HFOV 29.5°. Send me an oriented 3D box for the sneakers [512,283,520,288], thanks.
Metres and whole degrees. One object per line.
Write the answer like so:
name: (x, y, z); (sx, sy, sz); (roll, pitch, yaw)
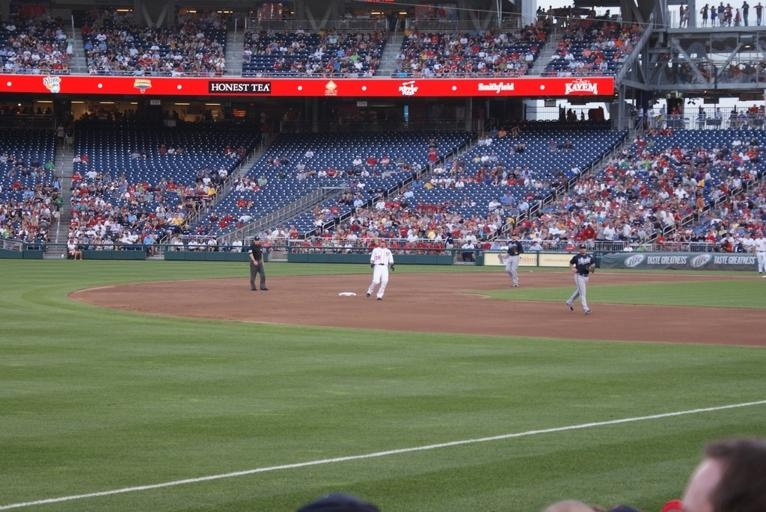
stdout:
sneakers: (6.111, 1.388, 67.281); (0.403, 0.254, 0.132); (7, 15, 21)
